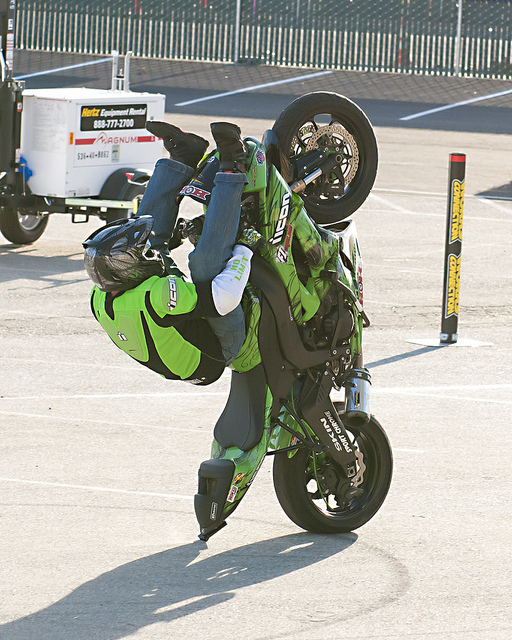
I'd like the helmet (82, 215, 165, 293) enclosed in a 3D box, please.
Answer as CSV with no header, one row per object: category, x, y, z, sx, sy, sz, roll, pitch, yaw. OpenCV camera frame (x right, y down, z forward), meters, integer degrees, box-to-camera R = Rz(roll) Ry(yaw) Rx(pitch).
helmet,-0.485,-0.244,2.888,0.307,0.294,0.251,1,5,-16

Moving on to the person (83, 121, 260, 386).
person,-0.316,-0.246,3.082,0.620,1.066,0.736,4,5,13

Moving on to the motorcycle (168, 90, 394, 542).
motorcycle,0.192,-0.030,3.575,0.625,2.180,1.288,8,7,39
